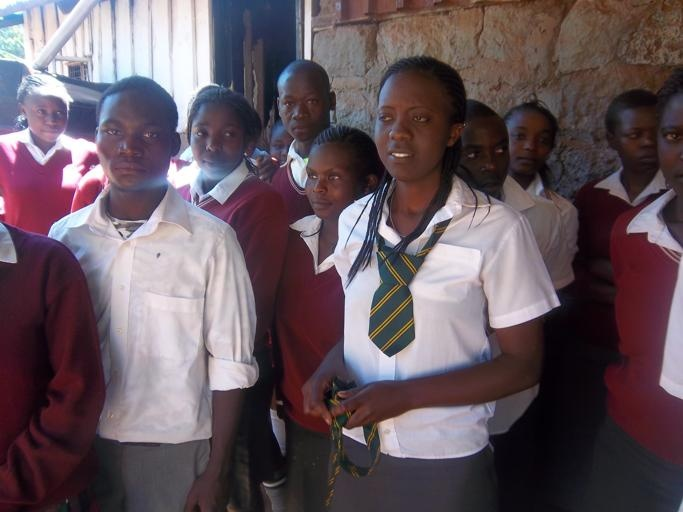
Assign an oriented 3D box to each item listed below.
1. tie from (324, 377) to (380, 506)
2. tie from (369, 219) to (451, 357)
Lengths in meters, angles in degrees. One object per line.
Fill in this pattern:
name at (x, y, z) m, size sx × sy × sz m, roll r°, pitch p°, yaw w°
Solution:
tie at (0.080, 0.699, 2.316) m, size 0.075 × 0.434 × 0.248 m, roll -13°, pitch 32°, yaw -41°
tie at (0.227, -0.007, 2.335) m, size 0.287 × 0.739 × 0.057 m, roll 5°, pitch -28°, yaw 14°
